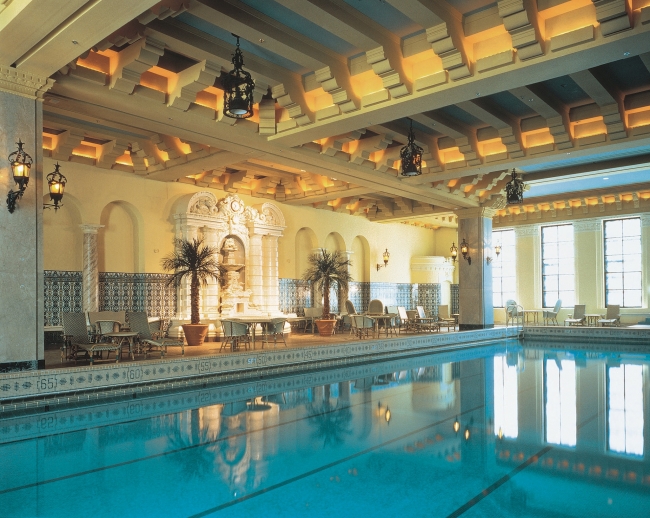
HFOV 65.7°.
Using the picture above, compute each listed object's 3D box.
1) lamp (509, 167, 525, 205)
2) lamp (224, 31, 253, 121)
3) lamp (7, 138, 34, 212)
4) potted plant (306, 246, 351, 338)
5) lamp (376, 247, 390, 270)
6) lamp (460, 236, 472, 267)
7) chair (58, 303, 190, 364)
[{"bbox_3d":[4.077,-1.619,10.772,0.449,0.798,0.425,-2,-2,11],"label":"lamp"},{"bbox_3d":[-1.301,-2.755,7.486,0.431,1.466,1.193,0,-2,-9],"label":"lamp"},{"bbox_3d":[-4.453,-1.237,7.363,0.342,1.109,0.346,1,-2,-40],"label":"lamp"},{"bbox_3d":[0.091,0.975,17.166,1.481,2.803,3.410,0,-2,2],"label":"potted plant"},{"bbox_3d":[2.325,-0.011,20.253,0.467,0.940,0.929,-1,-2,17],"label":"lamp"},{"bbox_3d":[4.716,-0.271,16.877,0.347,0.880,0.128,-1,-1,14],"label":"lamp"},{"bbox_3d":[-4.246,1.576,10.377,2.033,1.014,2.435,0,-2,5],"label":"chair"}]
